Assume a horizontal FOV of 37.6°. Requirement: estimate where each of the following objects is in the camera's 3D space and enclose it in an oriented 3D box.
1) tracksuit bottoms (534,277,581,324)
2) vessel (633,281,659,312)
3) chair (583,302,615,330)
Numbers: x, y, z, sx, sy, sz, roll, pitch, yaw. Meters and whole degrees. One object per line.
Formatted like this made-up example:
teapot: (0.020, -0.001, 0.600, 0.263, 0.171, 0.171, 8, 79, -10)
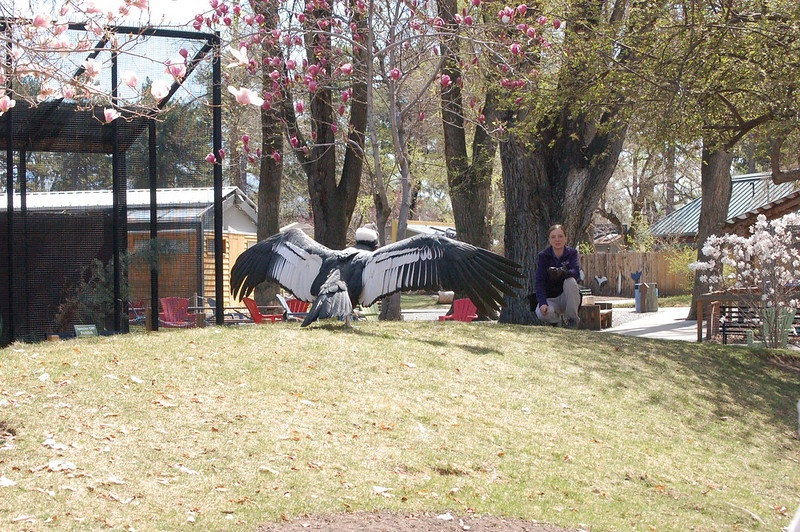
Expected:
tracksuit bottoms: (3.073, 0.599, 22.681, 0.852, 1.209, 0.850, -8, -17, 6)
vessel: (8.279, 1.112, 39.805, 0.856, 1.010, 0.877, -7, -8, 44)
chair: (4.724, 1.216, 28.314, 0.359, 0.535, 0.931, 0, 3, 20)
